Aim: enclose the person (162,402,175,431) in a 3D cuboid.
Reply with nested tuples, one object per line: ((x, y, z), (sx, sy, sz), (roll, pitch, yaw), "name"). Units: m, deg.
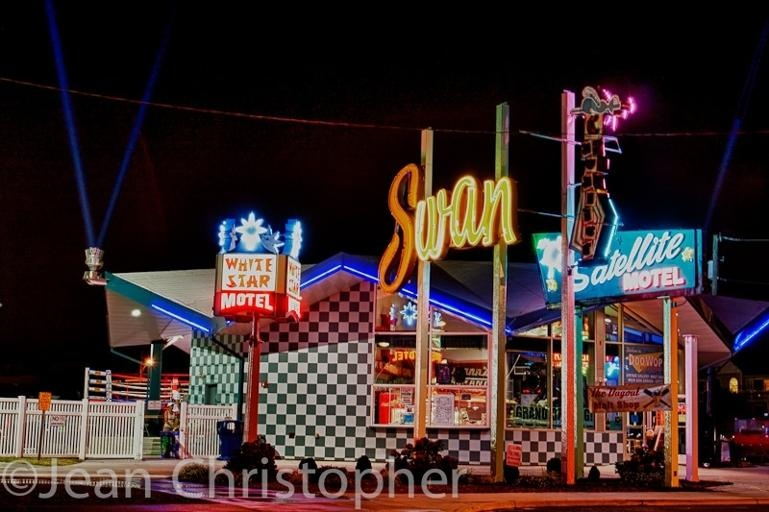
((-7.295, 5.463, 31.236), (0.373, 1.019, 2.149), (2, -13, -13), "person")
